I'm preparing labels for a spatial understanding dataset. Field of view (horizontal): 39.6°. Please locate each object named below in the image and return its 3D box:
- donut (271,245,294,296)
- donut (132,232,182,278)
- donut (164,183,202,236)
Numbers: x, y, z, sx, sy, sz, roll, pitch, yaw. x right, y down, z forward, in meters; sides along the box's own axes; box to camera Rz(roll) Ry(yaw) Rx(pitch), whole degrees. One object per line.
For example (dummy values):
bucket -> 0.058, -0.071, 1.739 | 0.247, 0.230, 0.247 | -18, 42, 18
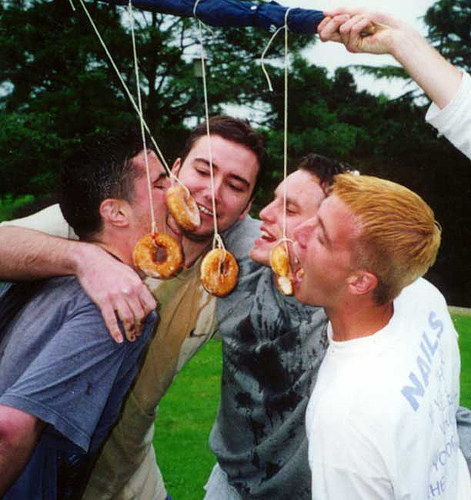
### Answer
donut -> 0.261, 0.127, 3.833 | 0.155, 0.259, 0.085 | 4, -19, -27
donut -> -0.460, 0.030, 3.816 | 0.318, 0.257, 0.104 | 12, -6, -15
donut -> -0.327, -0.251, 3.972 | 0.114, 0.306, 0.332 | -28, 10, 3
